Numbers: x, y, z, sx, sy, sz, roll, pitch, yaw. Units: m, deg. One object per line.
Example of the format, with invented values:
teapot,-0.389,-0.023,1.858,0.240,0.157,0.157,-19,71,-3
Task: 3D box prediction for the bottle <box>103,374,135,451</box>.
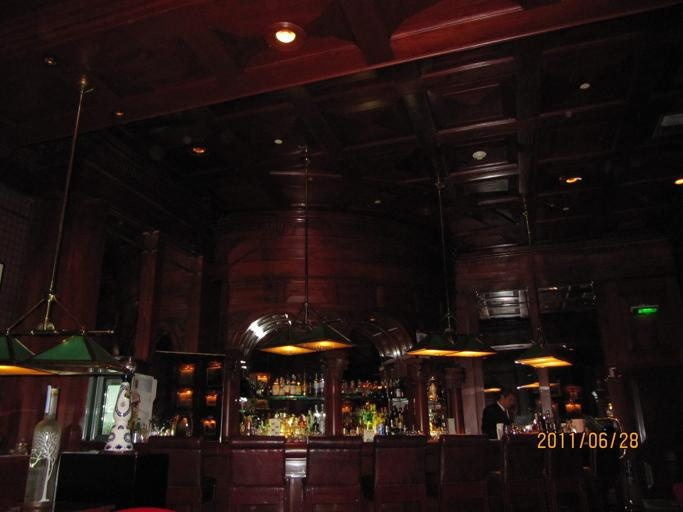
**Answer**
bottle,-2.065,1.489,4.808,0.237,0.722,0.442,7,-22,-20
